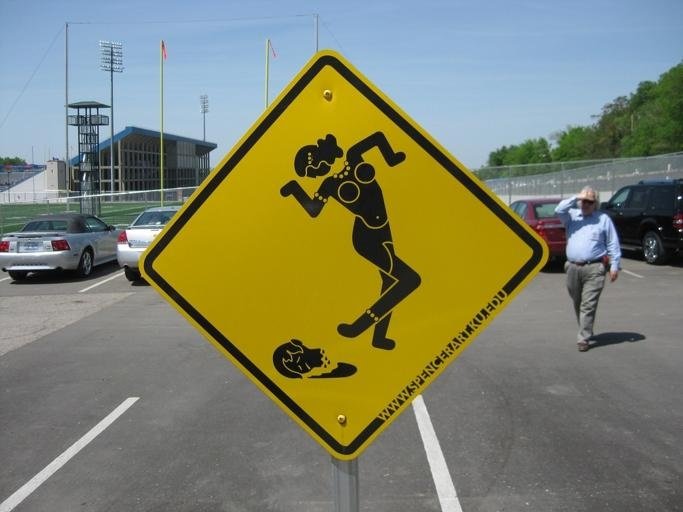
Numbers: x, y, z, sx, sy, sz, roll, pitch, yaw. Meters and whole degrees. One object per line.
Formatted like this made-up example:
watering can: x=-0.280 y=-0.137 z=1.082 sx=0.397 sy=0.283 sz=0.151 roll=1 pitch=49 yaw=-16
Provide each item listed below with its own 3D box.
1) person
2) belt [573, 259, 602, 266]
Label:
person: x=3.329 y=0.158 z=8.855 sx=0.818 sy=2.166 sz=0.684 roll=3 pitch=10 yaw=22
belt: x=3.348 y=0.088 z=8.796 sx=0.361 sy=0.091 sz=0.076 roll=3 pitch=11 yaw=18
